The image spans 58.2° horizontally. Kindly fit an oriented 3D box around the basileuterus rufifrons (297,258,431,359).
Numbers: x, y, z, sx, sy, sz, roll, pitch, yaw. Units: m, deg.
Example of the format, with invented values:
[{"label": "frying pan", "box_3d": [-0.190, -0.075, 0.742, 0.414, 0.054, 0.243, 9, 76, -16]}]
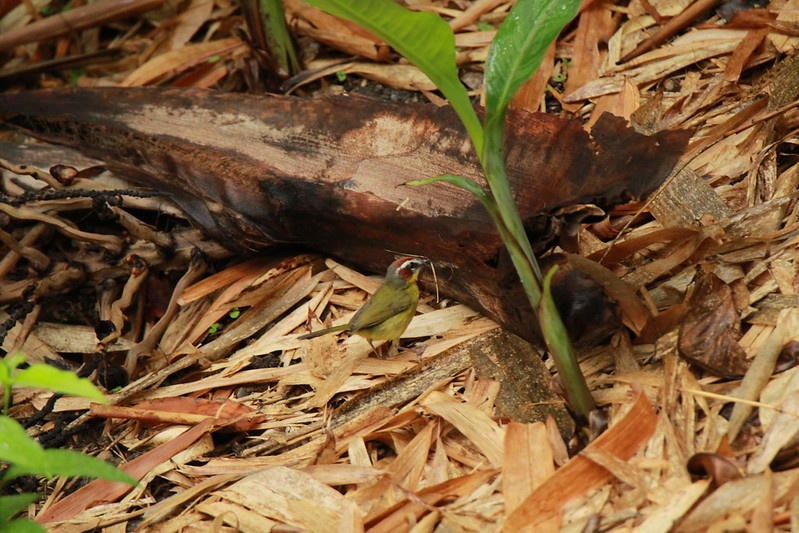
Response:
[{"label": "basileuterus rufifrons", "box_3d": [-0.248, 0.282, 4.332, 1.055, 0.528, 0.336, -15, 16, -30]}]
